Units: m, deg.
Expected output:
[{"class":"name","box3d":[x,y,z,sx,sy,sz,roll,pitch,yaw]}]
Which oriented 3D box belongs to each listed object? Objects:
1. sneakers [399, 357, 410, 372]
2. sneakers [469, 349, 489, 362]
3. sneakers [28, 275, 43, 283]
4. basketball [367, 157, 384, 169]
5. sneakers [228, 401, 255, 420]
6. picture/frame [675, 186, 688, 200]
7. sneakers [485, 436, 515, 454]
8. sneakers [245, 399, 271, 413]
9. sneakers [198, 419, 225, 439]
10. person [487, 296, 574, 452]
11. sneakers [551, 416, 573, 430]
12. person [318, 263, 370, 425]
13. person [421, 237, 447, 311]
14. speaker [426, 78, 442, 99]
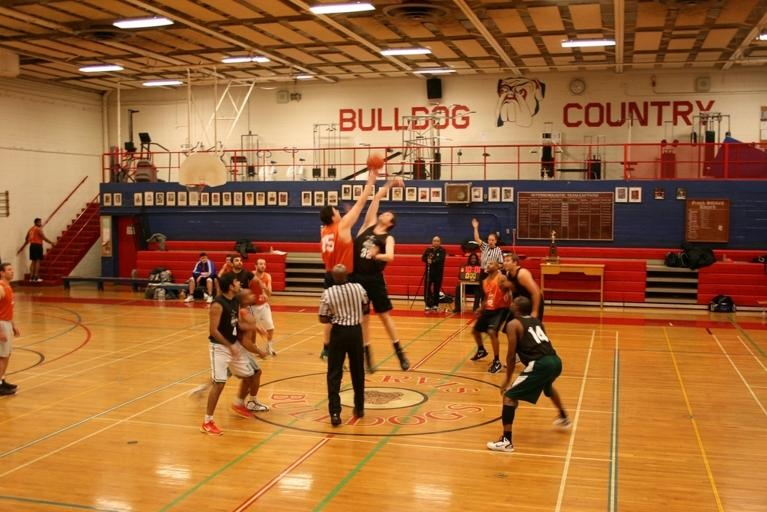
[{"class":"sneakers","box3d":[0.379,1.789,9.634,0.167,0.091,0.270,-1,6,2]},{"class":"sneakers","box3d":[1.966,1.982,11.690,0.174,0.181,0.437,-2,-1,-29]},{"class":"sneakers","box3d":[-13.400,0.863,22.273,0.312,0.212,0.570,0,-2,-26]},{"class":"basketball","box3d":[-0.108,-1.421,8.782,0.251,0.191,0.195,-3,13,3]},{"class":"sneakers","box3d":[-2.124,2.347,8.854,0.377,0.137,0.183,20,8,10]},{"class":"picture/frame","box3d":[9.491,-2.021,18.218,0.540,0.540,0.082,1,-1,9]},{"class":"sneakers","box3d":[1.591,2.526,7.716,0.405,0.163,0.149,2,0,13]},{"class":"sneakers","box3d":[-1.961,2.350,9.117,0.365,0.125,0.173,0,3,0]},{"class":"sneakers","box3d":[-2.451,2.466,8.296,0.353,0.135,0.170,4,6,29]},{"class":"person","box3d":[2.010,1.562,7.934,1.281,2.003,0.648,-7,9,-42]},{"class":"sneakers","box3d":[2.613,2.416,8.374,0.269,0.199,0.149,-2,21,10]},{"class":"person","box3d":[-0.543,1.300,8.415,0.683,2.377,0.435,-2,7,-10]},{"class":"person","box3d":[1.546,0.491,17.403,0.639,2.177,1.030,-1,7,3]},{"class":"speaker","box3d":[2.130,-6.775,23.261,0.628,0.883,0.234,-1,7,4]}]
